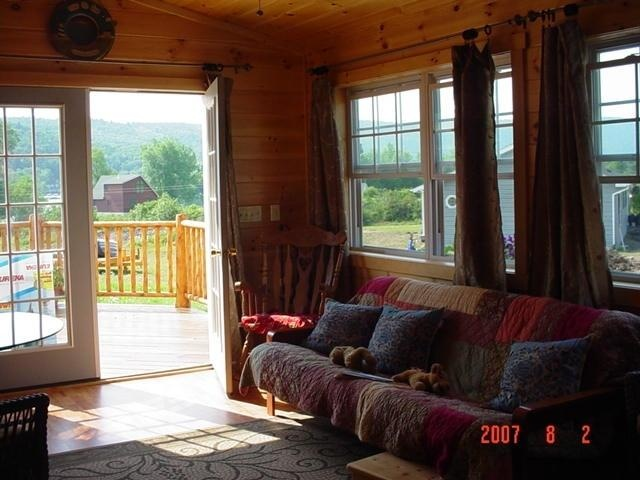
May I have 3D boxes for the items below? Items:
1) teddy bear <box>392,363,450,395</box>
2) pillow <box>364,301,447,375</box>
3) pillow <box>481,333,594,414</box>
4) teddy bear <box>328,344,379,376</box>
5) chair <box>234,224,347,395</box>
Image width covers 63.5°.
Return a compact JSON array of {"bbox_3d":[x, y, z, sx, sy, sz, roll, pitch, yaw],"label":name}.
[{"bbox_3d":[0.569,0.783,2.923,0.177,0.089,0.209,6,-10,-29],"label":"teddy bear"},{"bbox_3d":[0.533,0.619,3.231,0.428,0.423,0.203,-1,-27,41],"label":"pillow"},{"bbox_3d":[1.097,0.665,2.577,0.143,0.402,0.439,34,-28,-25],"label":"pillow"},{"bbox_3d":[0.194,0.743,3.207,0.144,0.088,0.242,6,1,-36],"label":"teddy bear"},{"bbox_3d":[-0.189,0.562,4.216,1.006,1.221,0.976,-5,3,-43],"label":"chair"}]
